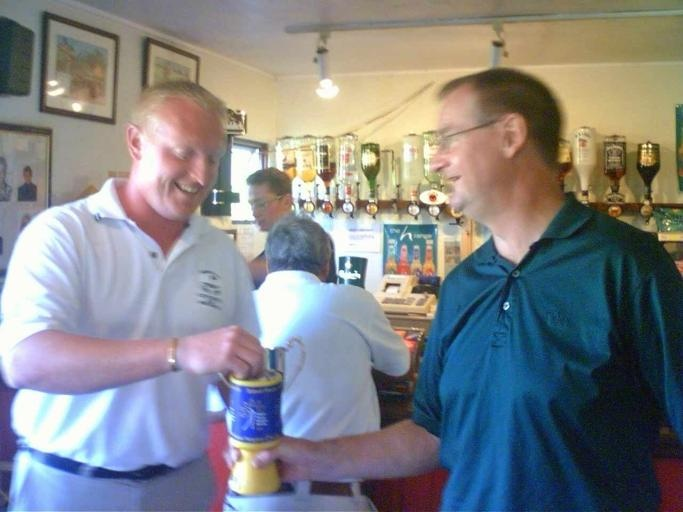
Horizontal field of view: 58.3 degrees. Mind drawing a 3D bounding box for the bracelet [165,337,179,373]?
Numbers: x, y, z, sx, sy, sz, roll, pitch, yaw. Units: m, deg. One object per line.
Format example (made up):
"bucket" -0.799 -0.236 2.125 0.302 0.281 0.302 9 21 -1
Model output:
"bracelet" -0.525 0.311 1.905 0.020 0.083 0.080 1 33 -10
